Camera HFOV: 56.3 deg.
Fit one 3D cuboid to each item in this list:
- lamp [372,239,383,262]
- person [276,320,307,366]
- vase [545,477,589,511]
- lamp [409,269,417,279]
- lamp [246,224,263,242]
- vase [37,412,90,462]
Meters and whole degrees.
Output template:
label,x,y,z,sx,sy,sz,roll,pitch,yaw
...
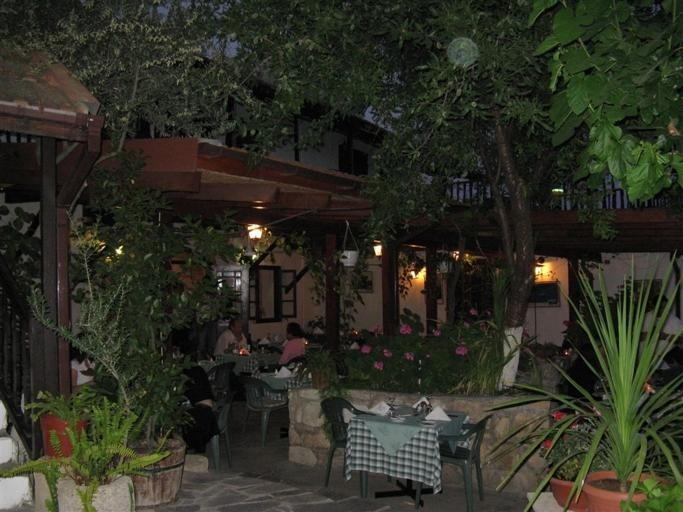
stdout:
label,x,y,z,sx,sy,sz,roll,pitch,yaw
lamp,0.715,-0.118,12.526,0.259,0.331,0.244,2,4,14
person,-0.846,1.511,10.661,0.398,0.811,0.454,17,16,31
vase,1.492,1.578,4.205,0.345,0.192,0.378,1,-12,10
lamp,1.740,0.442,15.586,0.198,0.255,0.206,6,-12,-24
lamp,-1.611,-0.442,11.948,0.252,0.219,0.271,0,4,0
vase,-2.298,1.454,5.153,0.339,0.479,0.349,0,-3,-1
